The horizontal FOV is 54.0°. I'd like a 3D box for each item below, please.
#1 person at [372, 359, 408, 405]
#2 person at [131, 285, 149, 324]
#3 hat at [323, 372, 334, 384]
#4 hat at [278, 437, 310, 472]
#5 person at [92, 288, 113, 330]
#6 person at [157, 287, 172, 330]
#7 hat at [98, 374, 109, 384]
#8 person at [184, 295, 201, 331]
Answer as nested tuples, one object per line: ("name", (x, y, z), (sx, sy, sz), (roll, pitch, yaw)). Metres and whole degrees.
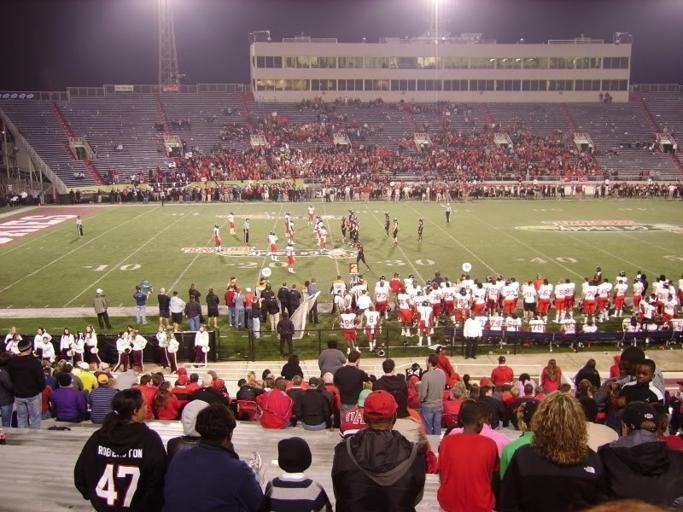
("person", (0.687, 1.680, 9.652), (0.344, 0.481, 0.708), (-10, 21, 2))
("person", (-6.069, 1.414, 20.079), (0.344, 0.959, 1.157), (-5, 3, -17))
("hat", (-0.241, 1.987, 11.021), (0.140, 0.182, 0.174), (8, -14, 10))
("hat", (-0.427, 1.801, 6.192), (0.237, 0.302, 0.319), (2, 2, 33))
("person", (-7.030, 1.521, 19.538), (0.399, 1.010, 1.011), (-5, 3, -19))
("person", (-5.148, 1.473, 19.394), (0.376, 1.164, 0.359), (-2, 17, -14))
("hat", (-3.721, 1.902, 10.426), (0.156, 0.133, 0.155), (-6, 3, -25))
("person", (-4.271, 1.634, 18.996), (0.431, 1.273, 0.359), (-10, 29, -19))
